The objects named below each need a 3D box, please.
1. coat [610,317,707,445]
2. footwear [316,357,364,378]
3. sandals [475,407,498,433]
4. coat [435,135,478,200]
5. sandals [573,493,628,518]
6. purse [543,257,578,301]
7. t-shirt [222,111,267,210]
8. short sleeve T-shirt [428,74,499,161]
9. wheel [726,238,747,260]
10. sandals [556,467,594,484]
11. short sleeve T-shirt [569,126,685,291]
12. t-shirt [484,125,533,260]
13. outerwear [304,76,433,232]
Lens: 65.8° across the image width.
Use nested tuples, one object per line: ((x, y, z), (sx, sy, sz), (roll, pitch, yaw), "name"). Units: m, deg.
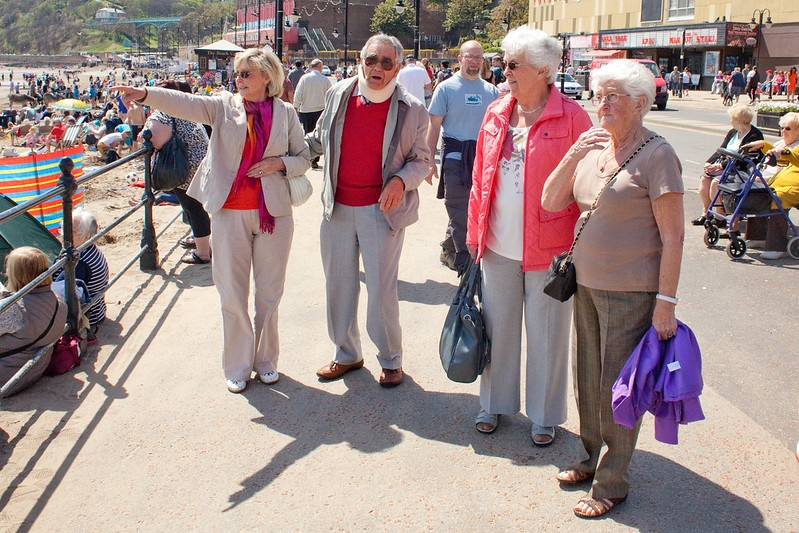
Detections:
((1.575, 0.601, 3.591), (0.352, 0.571, 0.445), (9, 1, -5), "coat")
((-0.514, 0.857, 5.262), (0.401, 0.185, 0.144), (-6, 8, -32), "footwear")
((0.638, 1.115, 4.483), (0.141, 0.136, 0.327), (0, -4, 10), "sandals")
((0.685, -1.073, 6.773), (0.561, 0.793, 0.455), (9, 12, 41), "coat")
((1.224, 1.439, 3.770), (0.279, 0.083, 0.125), (-9, 12, -16), "sandals")
((1.066, 0.102, 3.936), (0.162, 0.314, 0.304), (15, -2, 28), "purse")
((-1.158, -0.787, 4.682), (0.415, 0.650, 0.150), (8, 4, -6), "t-shirt")
((0.740, -1.684, 6.783), (0.840, 0.824, 0.331), (0, -1, -7), "short sleeve T-shirt")
((4.413, -0.225, 8.078), (0.221, 0.274, 0.110), (-4, 12, -5), "wheel")
((1.119, 1.321, 3.968), (0.196, 0.065, 0.101), (0, 7, -9), "sandals")
((1.361, -0.371, 3.859), (0.497, 0.949, 0.909), (-1, 9, -16), "short sleeve T-shirt")
((0.768, -0.480, 4.270), (0.387, 0.777, 0.180), (13, 17, 23), "t-shirt")
((-0.303, -0.951, 5.000), (1.075, 1.208, 0.719), (11, 29, 8), "outerwear")
